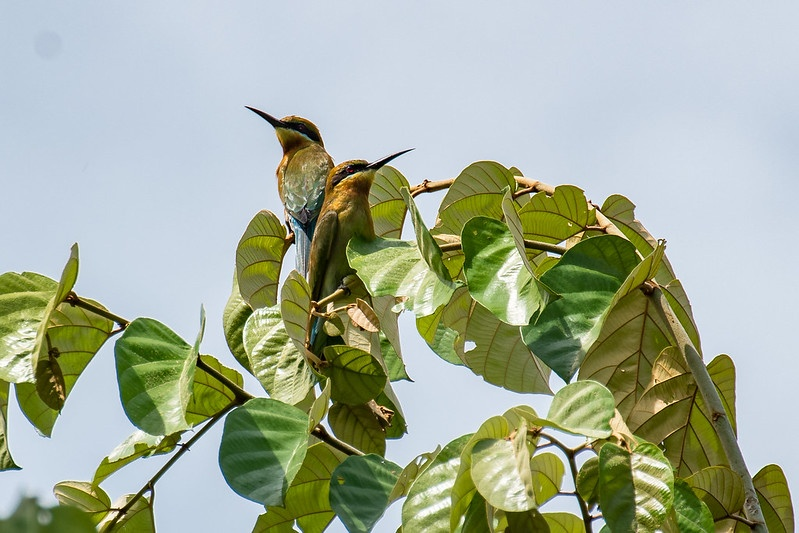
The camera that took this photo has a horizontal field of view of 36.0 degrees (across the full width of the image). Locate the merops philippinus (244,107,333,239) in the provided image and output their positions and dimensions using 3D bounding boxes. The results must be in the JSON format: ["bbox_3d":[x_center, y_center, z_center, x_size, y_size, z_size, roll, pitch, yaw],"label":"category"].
[{"bbox_3d":[-0.453,-0.370,5.689,0.192,0.637,0.628,-14,-41,21],"label":"merops philippinus"}]
